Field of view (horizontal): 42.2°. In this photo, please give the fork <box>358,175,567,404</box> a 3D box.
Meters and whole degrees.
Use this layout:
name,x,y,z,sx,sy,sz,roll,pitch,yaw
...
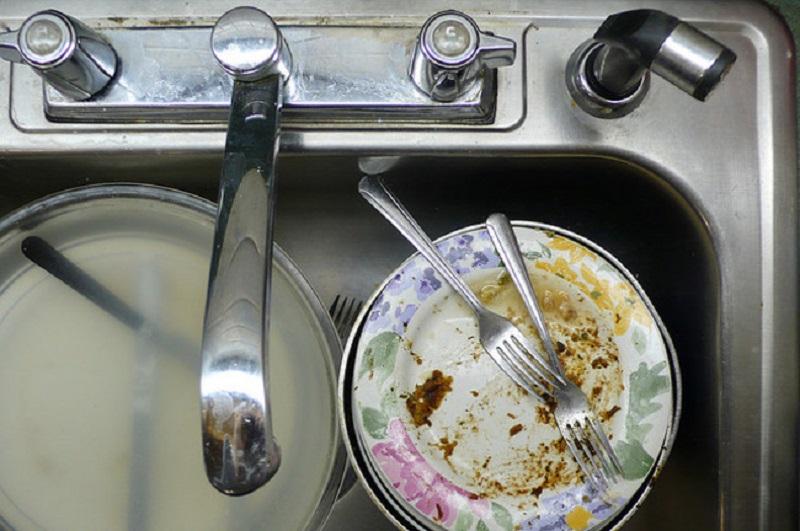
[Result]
name,x,y,z,sx,sy,sz,roll,pitch,yaw
fork,0.092,0.038,1.382,0.045,0.350,0.038,-37,11,4

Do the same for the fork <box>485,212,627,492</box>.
name,x,y,z,sx,sy,sz,roll,pitch,yaw
fork,0.204,0.129,1.375,0.045,0.371,0.040,-20,-1,14

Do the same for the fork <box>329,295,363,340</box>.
name,x,y,z,sx,sy,sz,roll,pitch,yaw
fork,-0.084,0.078,1.472,0.051,0.056,0.012,9,-17,1
